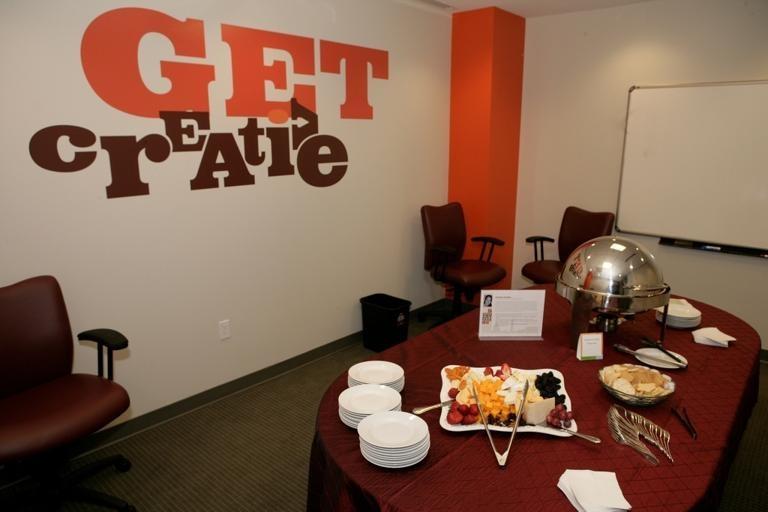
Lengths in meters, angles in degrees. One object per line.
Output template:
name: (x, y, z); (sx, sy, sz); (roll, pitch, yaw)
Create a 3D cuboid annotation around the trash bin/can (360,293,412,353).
trash bin/can: (0.038, 0.622, 5.110); (0.482, 0.611, 0.512); (4, 8, 18)

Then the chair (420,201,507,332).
chair: (0.826, 0.150, 5.249); (0.851, 1.310, 0.930); (0, 10, 0)

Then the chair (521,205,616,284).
chair: (1.843, 0.083, 5.153); (0.784, 1.063, 0.777); (8, 15, 27)

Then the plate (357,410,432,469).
plate: (0.046, 0.869, 2.400); (0.325, 0.161, 0.215); (-3, 15, -4)

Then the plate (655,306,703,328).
plate: (1.974, 0.414, 3.398); (0.194, 0.079, 0.200); (5, 18, 23)

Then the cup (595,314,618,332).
cup: (1.420, 0.427, 3.232); (0.126, 0.094, 0.127); (-1, 3, 0)

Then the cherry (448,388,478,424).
cherry: (0.408, 0.773, 2.547); (0.130, 0.136, 0.049); (-5, 5, 23)

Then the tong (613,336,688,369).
tong: (1.607, 0.575, 3.004); (0.151, 0.036, 0.249); (-11, 10, -29)
